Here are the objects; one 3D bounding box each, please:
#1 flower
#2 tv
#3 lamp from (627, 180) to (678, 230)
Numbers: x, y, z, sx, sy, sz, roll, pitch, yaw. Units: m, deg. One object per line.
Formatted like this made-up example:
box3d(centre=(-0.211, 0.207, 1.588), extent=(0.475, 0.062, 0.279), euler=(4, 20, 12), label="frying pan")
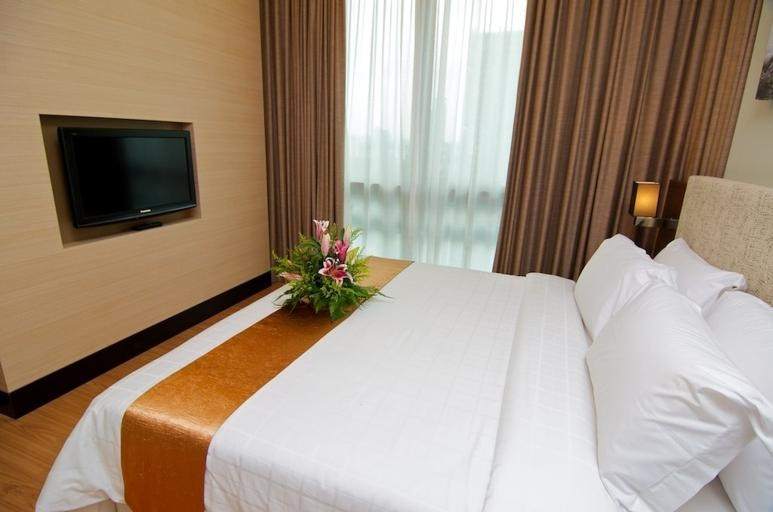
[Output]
box3d(centre=(-0.331, -0.014, 3.078), extent=(0.495, 0.382, 0.633), euler=(6, 2, 13), label="flower")
box3d(centre=(-2.090, -0.624, 3.568), extent=(0.095, 0.637, 0.891), euler=(9, 14, 28), label="tv")
box3d(centre=(2.271, -0.426, 3.742), extent=(0.379, 0.366, 0.131), euler=(5, 26, 19), label="lamp")
